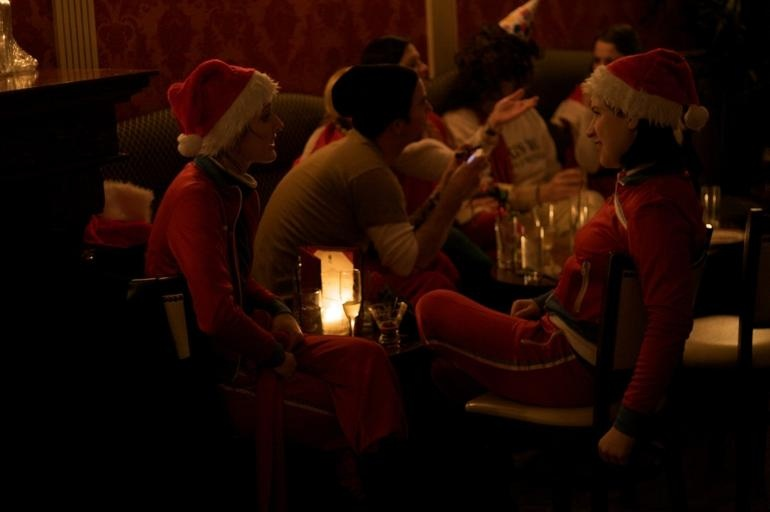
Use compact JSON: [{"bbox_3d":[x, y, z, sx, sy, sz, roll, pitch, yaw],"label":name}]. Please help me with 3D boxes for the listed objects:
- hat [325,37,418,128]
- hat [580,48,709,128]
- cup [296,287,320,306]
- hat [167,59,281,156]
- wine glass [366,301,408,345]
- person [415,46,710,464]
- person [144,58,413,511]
[{"bbox_3d":[-0.010,-0.804,3.314,0.539,0.293,0.408,-29,14,0],"label":"hat"},{"bbox_3d":[0.816,-0.512,2.208,0.302,0.183,0.239,27,11,7],"label":"hat"},{"bbox_3d":[-0.269,0.148,2.493,0.063,0.048,0.063,1,1,0],"label":"cup"},{"bbox_3d":[-0.545,-0.503,2.428,0.345,0.286,0.272,-29,10,-8],"label":"hat"},{"bbox_3d":[0.011,0.241,2.488,0.138,0.126,0.139,0,-5,-42],"label":"wine glass"},{"bbox_3d":[0.649,-0.162,2.896,1.171,1.675,1.051,5,10,23],"label":"person"},{"bbox_3d":[-0.380,0.151,2.353,0.818,1.602,0.448,-3,6,-20],"label":"person"}]
